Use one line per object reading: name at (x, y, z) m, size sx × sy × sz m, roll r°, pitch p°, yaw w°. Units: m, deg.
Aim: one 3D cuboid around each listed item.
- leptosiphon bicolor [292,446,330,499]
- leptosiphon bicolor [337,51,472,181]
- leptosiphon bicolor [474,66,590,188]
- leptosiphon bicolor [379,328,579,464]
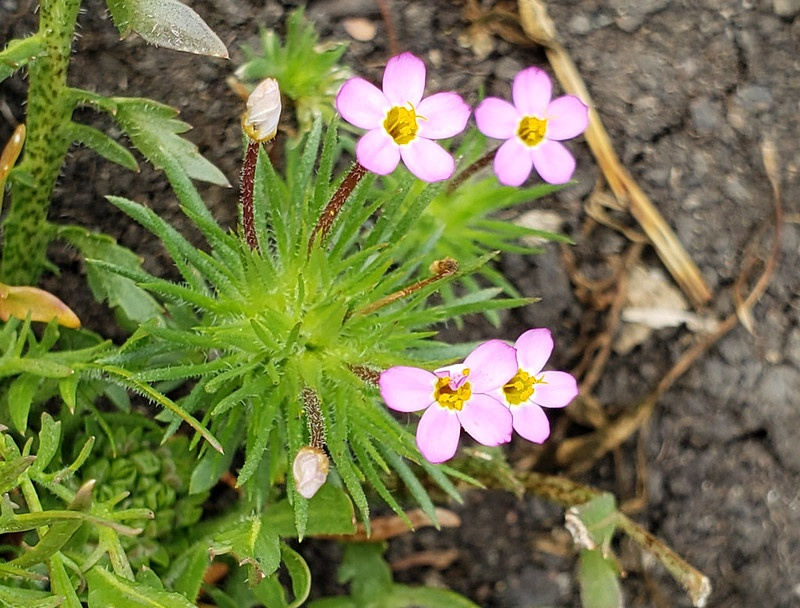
leptosiphon bicolor at (-0.306, 0.596, 2.825) m, size 0.109 × 0.240 × 0.152 m, roll 0°, pitch 50°, yaw -9°
leptosiphon bicolor at (0.008, -0.630, 2.780) m, size 0.433 × 0.210 × 0.412 m, roll 15°, pitch 51°, yaw 1°
leptosiphon bicolor at (0.475, -0.624, 2.935) m, size 0.379 × 0.136 × 0.443 m, roll 6°, pitch 69°, yaw -18°
leptosiphon bicolor at (0.273, 0.245, 2.898) m, size 0.627 × 0.425 × 0.208 m, roll -35°, pitch 24°, yaw -15°
